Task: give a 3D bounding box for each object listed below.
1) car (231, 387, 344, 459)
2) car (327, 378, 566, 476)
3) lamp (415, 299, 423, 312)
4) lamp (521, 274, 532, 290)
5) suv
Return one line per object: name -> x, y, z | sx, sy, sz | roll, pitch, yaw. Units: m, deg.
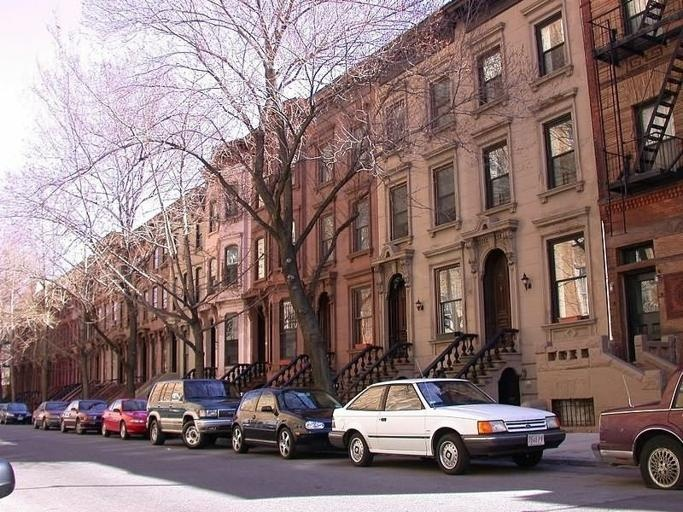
car -> -1.408, 4.422, 18.069 | 1.600, 1.174, 2.649 | 9, -19, -35
car -> 1.944, 3.627, 14.669 | 2.227, 1.622, 3.996 | 6, -17, -35
lamp -> 3.042, 1.937, 26.371 | 0.336, 0.610, 0.262 | 5, -5, -20
lamp -> 6.151, 0.862, 22.540 | 0.288, 0.654, 0.293 | 9, -18, -10
suv -> -4.668, 5.059, 21.734 | 1.889, 1.684, 3.127 | 9, -22, -34
